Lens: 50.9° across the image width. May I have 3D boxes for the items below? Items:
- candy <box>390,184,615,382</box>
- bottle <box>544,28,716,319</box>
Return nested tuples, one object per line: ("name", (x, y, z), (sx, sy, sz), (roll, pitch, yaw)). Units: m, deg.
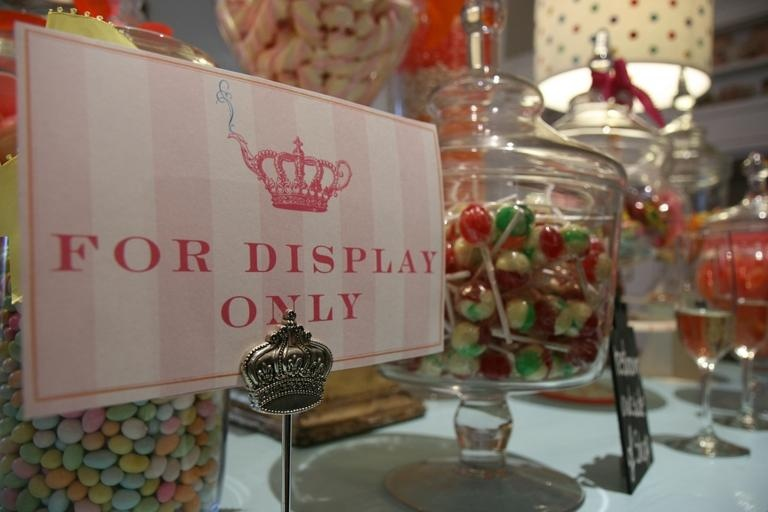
("candy", (0.176, 0.049, 1.151), (0.300, 0.245, 0.141), (3, 12, 10))
("bottle", (0.488, -0.154, 1.666), (0.332, 0.687, 0.303), (-4, -5, 0))
